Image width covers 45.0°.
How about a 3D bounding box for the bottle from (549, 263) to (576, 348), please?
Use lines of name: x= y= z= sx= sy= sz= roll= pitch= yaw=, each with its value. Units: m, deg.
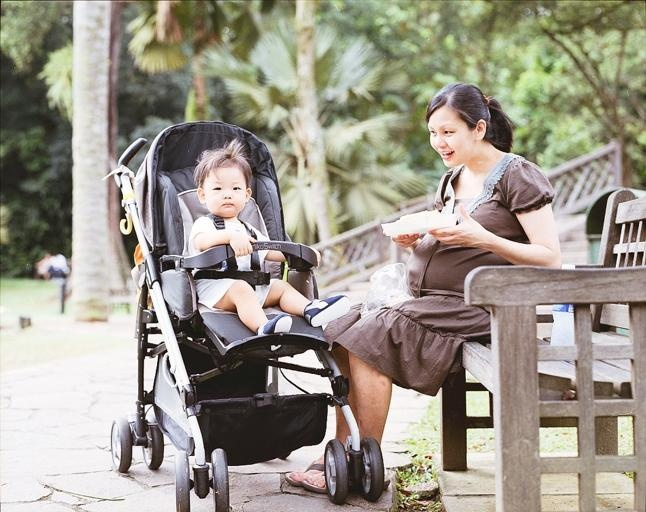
bottle: x=1.207 y=0.242 z=3.914 sx=0.163 sy=0.388 sz=0.197 roll=5 pitch=7 yaw=24
